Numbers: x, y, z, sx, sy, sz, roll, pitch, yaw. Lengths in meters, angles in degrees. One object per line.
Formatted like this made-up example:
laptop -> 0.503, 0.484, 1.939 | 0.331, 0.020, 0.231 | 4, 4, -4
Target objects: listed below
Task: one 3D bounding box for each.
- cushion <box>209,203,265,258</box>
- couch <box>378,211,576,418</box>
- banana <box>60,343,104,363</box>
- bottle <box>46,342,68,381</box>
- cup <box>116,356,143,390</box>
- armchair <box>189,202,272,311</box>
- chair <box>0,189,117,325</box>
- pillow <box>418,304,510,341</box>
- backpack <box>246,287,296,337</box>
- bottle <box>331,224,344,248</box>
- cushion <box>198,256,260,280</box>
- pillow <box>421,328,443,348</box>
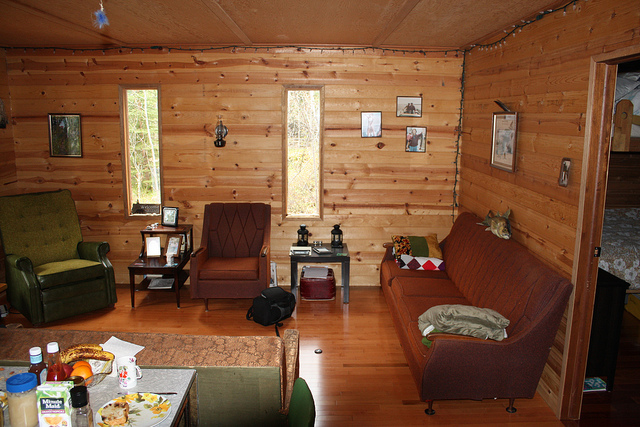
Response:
cushion -> -1.199, 0.232, 6.457 | 0.865, 0.988, 0.809 | 0, 2, -3
couch -> 1.662, 1.096, 4.615 | 1.129, 0.904, 2.068 | 1, 12, 3
banana -> -1.779, 1.034, 3.318 | 0.240, 0.047, 0.128 | -2, 22, -27
bottle -> -1.771, 0.991, 2.981 | 0.119, 0.280, 0.135 | -5, 11, -22
cup -> -1.328, 1.139, 3.148 | 0.207, 0.165, 0.134 | -12, -10, 40
armchair -> -1.214, 0.522, 6.247 | 1.435, 1.092, 1.363 | -11, 20, -35
chair -> -3.533, 0.555, 5.996 | 1.073, 1.676, 0.974 | -10, 14, -42
pillow -> 1.392, 1.041, 4.300 | 0.571, 0.155, 0.415 | 0, 2, 9
backpack -> -0.592, 1.243, 5.671 | 0.623, 0.374, 0.561 | -1, 6, 8
bottle -> 0.242, 0.327, 6.517 | 0.166, 0.303, 0.262 | 0, 10, 0
cushion -> -1.232, 0.755, 6.133 | 0.799, 0.189, 0.557 | -1, 8, -4
pillow -> 1.071, 1.204, 4.308 | 0.180, 0.054, 0.166 | -3, 4, -27
